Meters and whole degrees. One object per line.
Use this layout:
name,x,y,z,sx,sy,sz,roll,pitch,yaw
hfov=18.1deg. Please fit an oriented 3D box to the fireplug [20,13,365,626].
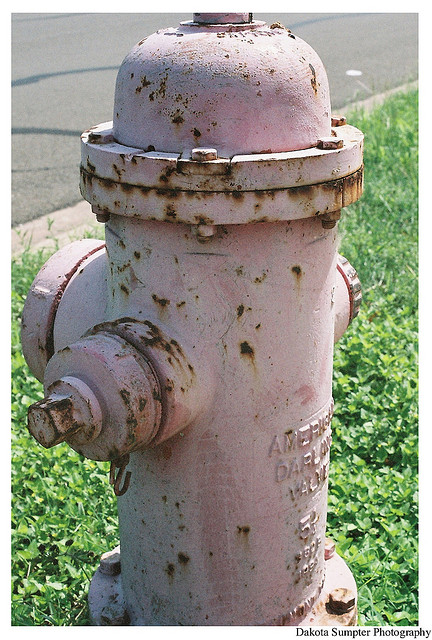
fireplug,-0.042,0.061,3.733,0.901,1.781,0.738,-1,8,7

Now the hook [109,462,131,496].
hook,-0.255,0.424,3.624,0.066,0.082,0.020,12,7,25
